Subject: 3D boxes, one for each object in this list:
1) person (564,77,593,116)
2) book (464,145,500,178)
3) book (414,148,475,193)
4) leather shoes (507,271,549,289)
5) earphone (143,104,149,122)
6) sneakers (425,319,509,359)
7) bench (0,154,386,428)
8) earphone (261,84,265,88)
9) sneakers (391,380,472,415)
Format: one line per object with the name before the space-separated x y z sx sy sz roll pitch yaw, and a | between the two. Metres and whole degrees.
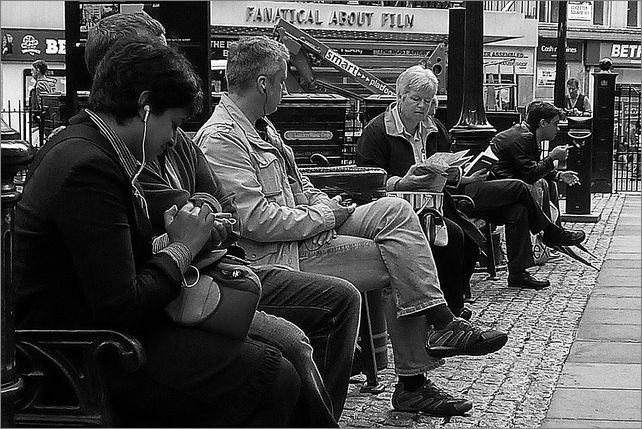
person | 6.696 -3.068 17.910 0.660 1.058 0.965 -17 19 -34
book | 1.762 -0.570 7.374 0.093 0.382 0.390 41 34 8
book | 0.855 -0.350 4.934 0.272 0.138 0.327 -2 -19 -34
leather shoes | 2.184 0.680 7.240 0.466 0.200 0.170 1 10 10
earphone | -0.701 -0.408 2.708 0.022 0.060 0.015 5 14 -4
sneakers | 0.796 0.704 3.881 0.490 0.247 0.196 -5 3 1
bench | -0.442 0.308 3.205 1.376 1.512 0.964 -2 0 1
earphone | -0.338 -0.747 3.945 0.015 0.018 0.017 2 15 4
sneakers | 0.668 1.142 4.229 0.546 0.251 0.190 1 -3 0
